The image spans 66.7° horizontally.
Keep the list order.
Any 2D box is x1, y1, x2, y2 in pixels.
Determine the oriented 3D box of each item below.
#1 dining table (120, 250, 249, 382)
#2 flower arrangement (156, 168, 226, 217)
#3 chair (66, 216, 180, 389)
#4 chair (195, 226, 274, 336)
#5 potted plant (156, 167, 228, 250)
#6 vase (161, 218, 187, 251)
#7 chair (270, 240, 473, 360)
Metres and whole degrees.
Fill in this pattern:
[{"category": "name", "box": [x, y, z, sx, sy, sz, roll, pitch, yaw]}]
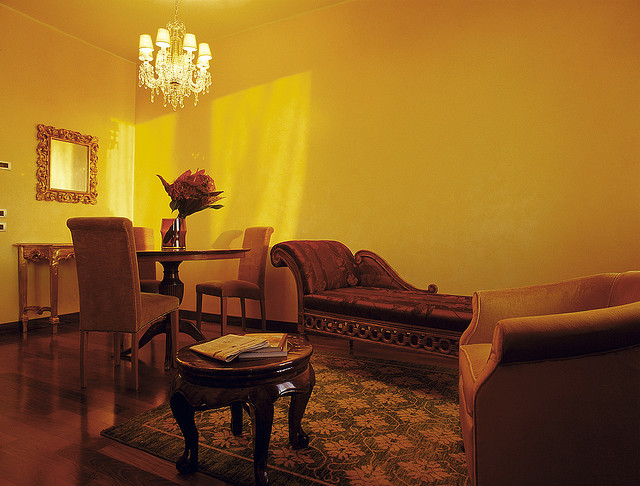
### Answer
[{"category": "dining table", "box": [-1.244, 0.517, 4.078, 1.150, 0.877, 1.166, 4, -6, -34]}, {"category": "flower arrangement", "box": [-1.060, -0.408, 3.961, 0.413, 0.386, 0.253, 1, 5, -18]}, {"category": "chair", "box": [-1.477, 0.418, 3.588, 0.601, 1.198, 0.704, 1, 1, 22]}, {"category": "chair", "box": [-0.859, 0.302, 4.599, 0.588, 1.159, 0.603, 0, -1, 44]}, {"category": "potted plant", "box": [-1.137, -0.268, 4.044, 0.666, 0.691, 0.577, 1, -1, -32]}, {"category": "vase", "box": [-1.165, -0.074, 3.943, 0.218, 0.256, 0.266, 1, 1, -4]}, {"category": "chair", "box": [0.622, 0.454, 3.799, 0.823, 0.880, 2.067, 1, 1, -45]}]
